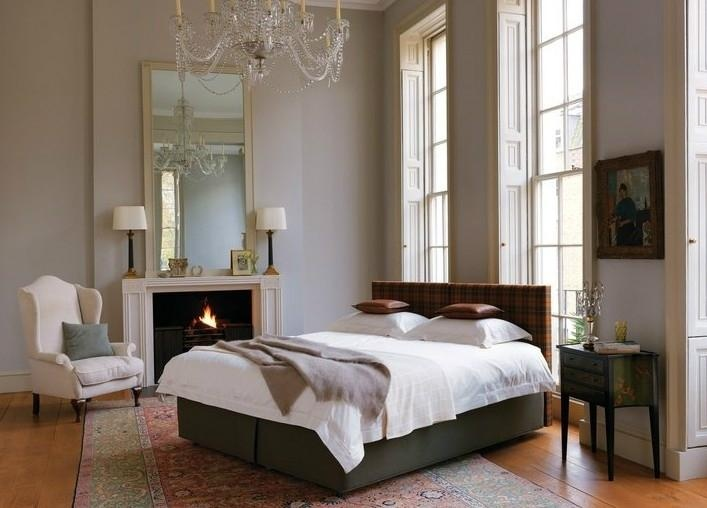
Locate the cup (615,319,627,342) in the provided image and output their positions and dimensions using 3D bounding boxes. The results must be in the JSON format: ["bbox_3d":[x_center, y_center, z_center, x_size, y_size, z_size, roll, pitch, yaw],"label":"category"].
[{"bbox_3d":[2.244,0.648,4.953,0.097,0.178,0.289,2,6,25],"label":"cup"}]

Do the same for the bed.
[{"bbox_3d":[0.350,1.217,5.155,2.192,1.221,2.187,2,-3,-41],"label":"bed"}]

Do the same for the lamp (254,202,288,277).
[{"bbox_3d":[-1.093,-0.183,7.812,0.410,0.880,0.351,-2,6,-8],"label":"lamp"}]

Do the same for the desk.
[{"bbox_3d":[2.118,1.305,4.864,0.529,1.173,0.979,1,-4,-16],"label":"desk"}]

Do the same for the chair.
[{"bbox_3d":[-3.044,0.972,6.556,1.113,1.474,1.158,0,-1,6],"label":"chair"}]

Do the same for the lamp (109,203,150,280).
[{"bbox_3d":[-2.779,-0.159,7.352,0.391,0.875,0.378,-3,7,-21],"label":"lamp"}]

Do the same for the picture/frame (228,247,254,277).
[{"bbox_3d":[-1.501,0.114,7.749,0.332,0.322,0.124,5,-6,-18],"label":"picture/frame"}]
